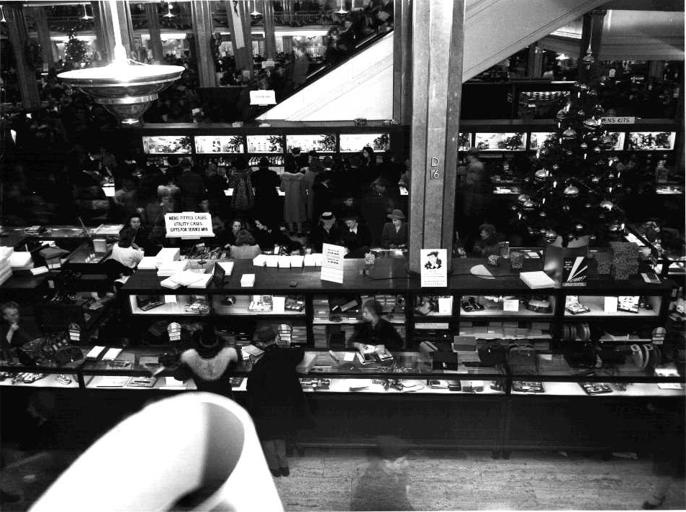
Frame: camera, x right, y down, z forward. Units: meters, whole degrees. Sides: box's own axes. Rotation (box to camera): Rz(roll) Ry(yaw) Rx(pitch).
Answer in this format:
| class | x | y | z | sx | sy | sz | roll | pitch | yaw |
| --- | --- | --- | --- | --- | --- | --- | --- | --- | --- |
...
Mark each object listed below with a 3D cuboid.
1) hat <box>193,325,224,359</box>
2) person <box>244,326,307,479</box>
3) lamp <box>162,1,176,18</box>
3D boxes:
| class | x | y | z | sx | sy | sz | roll | pitch | yaw |
| --- | --- | --- | --- | --- | --- | --- | --- | --- | --- |
| hat | -1.358 | 0.870 | 5.984 | 0.267 | 0.285 | 0.335 | -1 | -2 | -4 |
| person | -0.620 | 1.534 | 5.860 | 0.594 | 0.855 | 0.264 | -7 | 4 | -11 |
| lamp | -4.715 | -6.686 | 16.303 | 0.375 | 0.579 | 0.320 | 4 | 32 | -18 |
